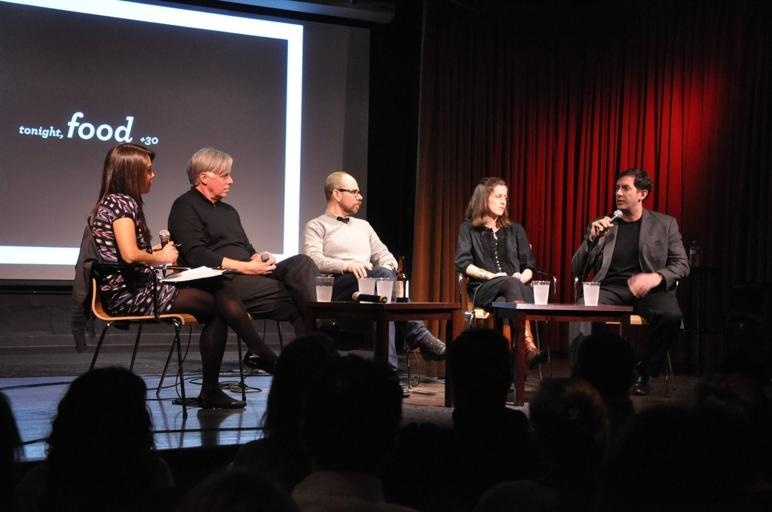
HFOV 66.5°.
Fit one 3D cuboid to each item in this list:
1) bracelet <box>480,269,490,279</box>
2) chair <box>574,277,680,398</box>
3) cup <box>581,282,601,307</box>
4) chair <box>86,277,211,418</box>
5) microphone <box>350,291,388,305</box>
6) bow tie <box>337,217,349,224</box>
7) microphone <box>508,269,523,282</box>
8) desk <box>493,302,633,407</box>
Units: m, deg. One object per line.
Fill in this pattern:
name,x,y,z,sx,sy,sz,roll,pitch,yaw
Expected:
bracelet,0.696,0.128,4.173,0.051,0.058,0.044,8,-12,-23
chair,1.280,0.394,3.125,0.422,0.491,0.743,10,46,31
cup,1.185,0.227,3.487,0.129,0.151,0.136,1,-7,0
chair,-1.277,0.355,3.187,0.463,0.724,0.506,-5,11,-2
microphone,-0.088,0.210,3.084,0.213,0.065,0.064,2,-15,38
bow tie,-0.307,-0.258,4.250,0.051,0.039,0.052,-3,-4,45
microphone,0.920,0.142,4.172,0.079,0.033,0.079,13,-2,-30
desk,0.978,0.580,3.360,0.617,0.522,0.622,1,-5,-9
